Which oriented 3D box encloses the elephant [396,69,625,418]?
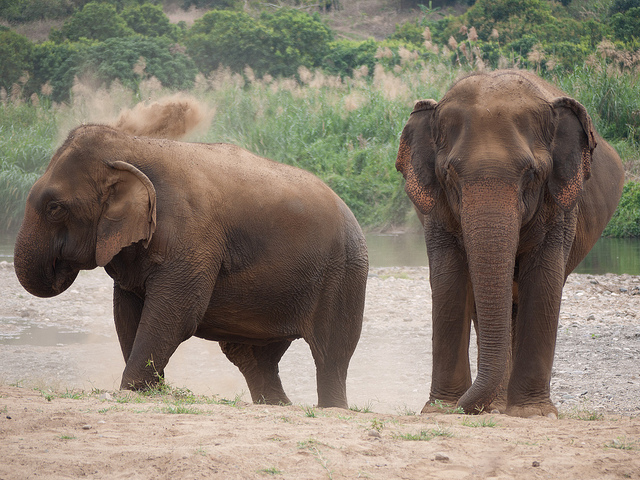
[{"bbox_3d":[1.874,-0.033,10.058,2.016,3.220,4.042,1,0,16],"label":"elephant"}]
